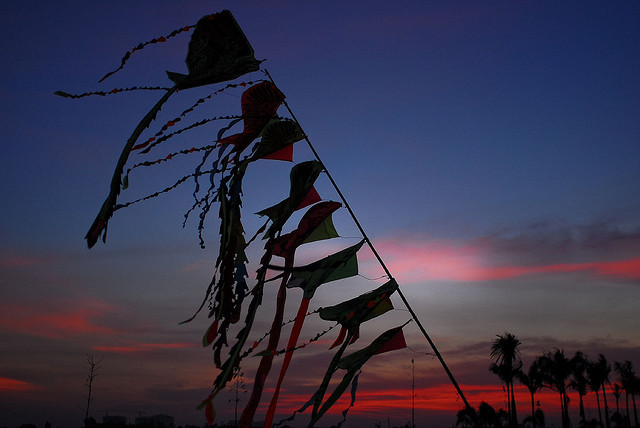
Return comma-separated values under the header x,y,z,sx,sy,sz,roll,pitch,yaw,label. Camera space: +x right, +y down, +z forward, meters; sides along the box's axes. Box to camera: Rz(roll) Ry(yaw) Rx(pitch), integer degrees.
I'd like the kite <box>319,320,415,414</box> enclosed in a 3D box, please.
x,y,z,sx,sy,sz,roll,pitch,yaw,label
1.660,5.030,20.811,2.318,2.733,2.274,11,-31,-17,kite

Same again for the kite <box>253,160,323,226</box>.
x,y,z,sx,sy,sz,roll,pitch,yaw,label
-0.639,-0.623,20.699,2.452,0.267,1.994,-5,-69,-4,kite

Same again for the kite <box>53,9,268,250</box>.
x,y,z,sx,sy,sz,roll,pitch,yaw,label
-5.568,-3.170,21.240,5.787,7.635,2.865,-10,-32,20,kite
